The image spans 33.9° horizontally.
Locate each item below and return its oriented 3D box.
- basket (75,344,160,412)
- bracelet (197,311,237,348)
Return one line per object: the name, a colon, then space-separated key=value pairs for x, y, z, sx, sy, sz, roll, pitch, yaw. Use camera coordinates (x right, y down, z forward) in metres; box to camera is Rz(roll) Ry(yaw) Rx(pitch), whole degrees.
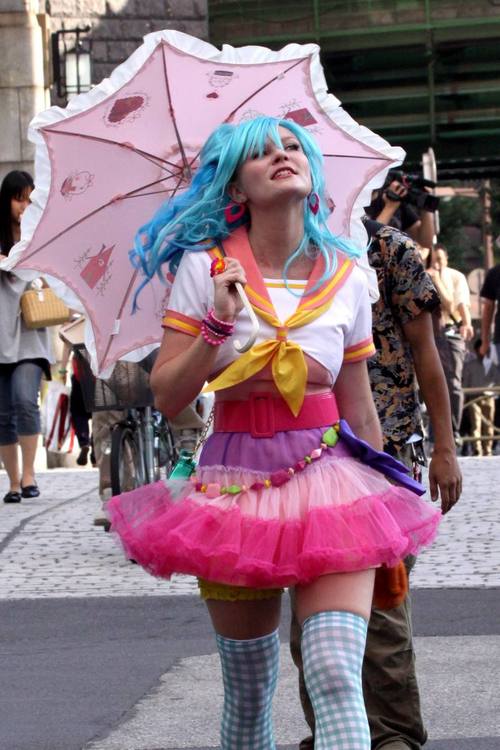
basket: x=-0.956 y=0.094 z=5.914 sx=0.811 sy=0.484 sz=0.514 roll=-1 pitch=-13 yaw=-16
bracelet: x=-0.062 y=-0.082 z=1.469 sx=0.064 sy=0.050 sz=0.063 roll=-3 pitch=16 yaw=-5
